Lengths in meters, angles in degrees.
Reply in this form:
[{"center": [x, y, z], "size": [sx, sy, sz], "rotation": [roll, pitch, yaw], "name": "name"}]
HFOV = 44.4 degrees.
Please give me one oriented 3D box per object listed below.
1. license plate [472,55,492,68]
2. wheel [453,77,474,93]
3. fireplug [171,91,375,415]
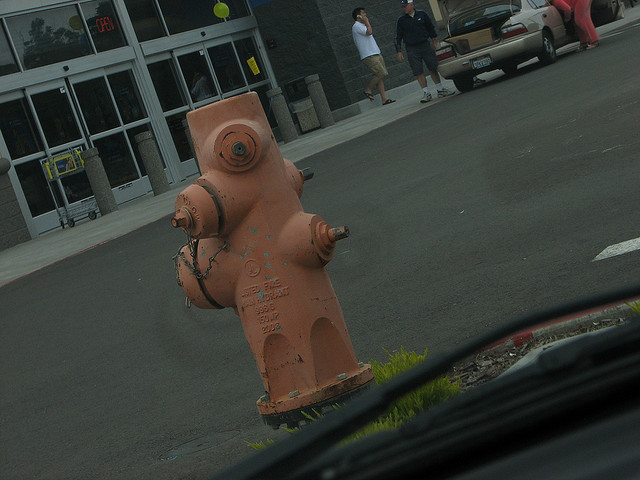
[{"center": [3.367, -3.710, 16.272], "size": [0.019, 0.194, 0.446], "rotation": [-12, 10, -39], "name": "license plate"}, {"center": [3.285, -3.525, 17.851], "size": [0.408, 0.313, 0.597], "rotation": [-6, 10, 10], "name": "wheel"}, {"center": [-0.302, 0.070, 4.447], "size": [0.962, 1.786, 0.505], "rotation": [-8, 8, -10], "name": "fireplug"}]
